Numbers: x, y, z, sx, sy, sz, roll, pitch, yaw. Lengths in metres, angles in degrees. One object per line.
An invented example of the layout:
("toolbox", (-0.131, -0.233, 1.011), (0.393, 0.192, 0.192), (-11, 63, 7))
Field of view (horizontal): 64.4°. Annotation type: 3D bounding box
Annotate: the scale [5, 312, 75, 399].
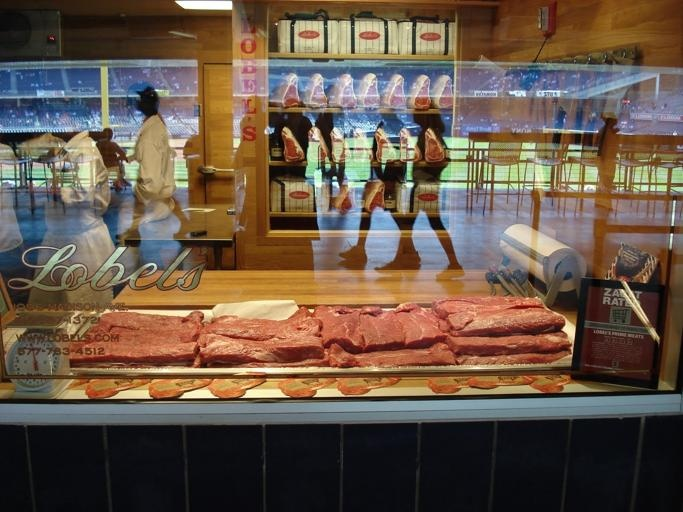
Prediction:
("scale", (-0.776, 0.256, 1.396), (0.180, 0.228, 0.028), (-2, 14, 2))
